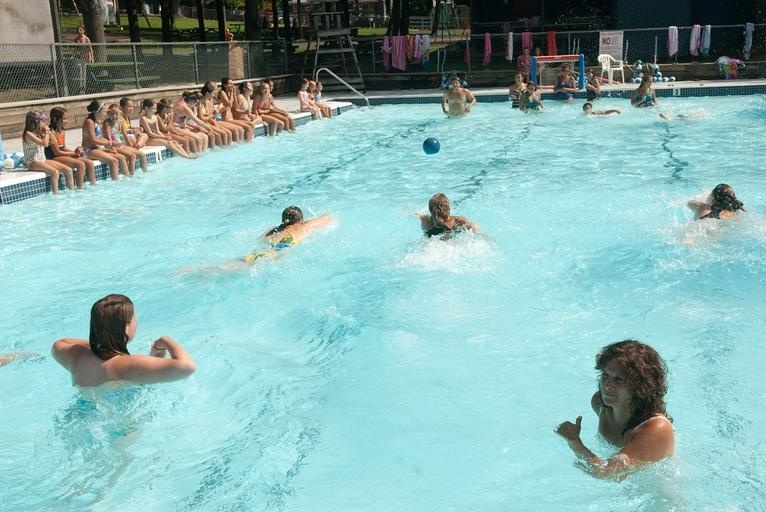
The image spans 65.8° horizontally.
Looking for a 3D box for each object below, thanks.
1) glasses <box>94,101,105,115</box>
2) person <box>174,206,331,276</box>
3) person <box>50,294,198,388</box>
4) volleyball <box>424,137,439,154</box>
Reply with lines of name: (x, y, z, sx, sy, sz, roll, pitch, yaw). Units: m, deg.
glasses: (-4.976, -2.563, 10.416, 0.119, 0.193, 0.290, -5, 14, -3)
person: (-1.583, -0.374, 7.918, 0.725, 0.689, 1.931, 23, 37, 12)
person: (-2.035, 0.644, 4.532, 1.168, 0.726, 0.356, 1, 16, 18)
volleyball: (0.992, -2.166, 11.937, 0.301, 0.318, 0.409, -4, 14, 1)
